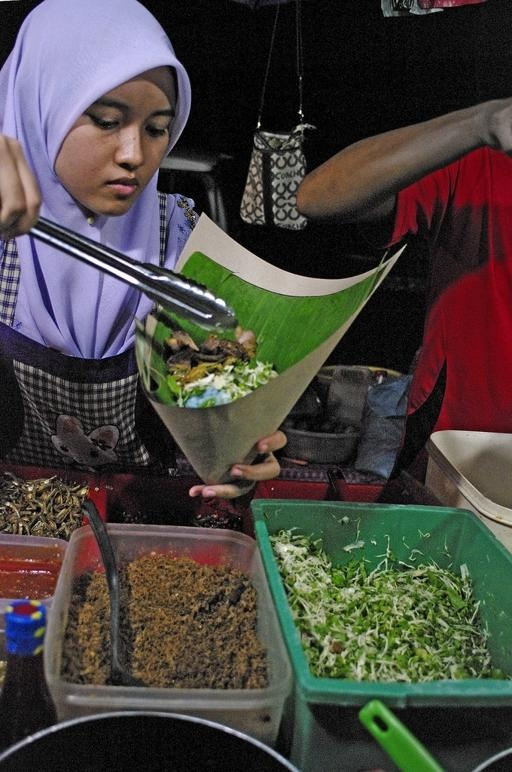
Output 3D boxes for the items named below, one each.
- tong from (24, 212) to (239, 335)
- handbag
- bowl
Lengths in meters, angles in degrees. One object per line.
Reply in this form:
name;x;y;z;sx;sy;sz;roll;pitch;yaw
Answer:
tong;-0.148;-0.140;0.755;0.252;0.112;0.065;7;18;1
handbag;0.040;-0.454;1.282;0.225;0.286;0.072;1;27;-7
bowl;0.171;0.067;1.424;0.201;0.090;0.251;7;32;11
